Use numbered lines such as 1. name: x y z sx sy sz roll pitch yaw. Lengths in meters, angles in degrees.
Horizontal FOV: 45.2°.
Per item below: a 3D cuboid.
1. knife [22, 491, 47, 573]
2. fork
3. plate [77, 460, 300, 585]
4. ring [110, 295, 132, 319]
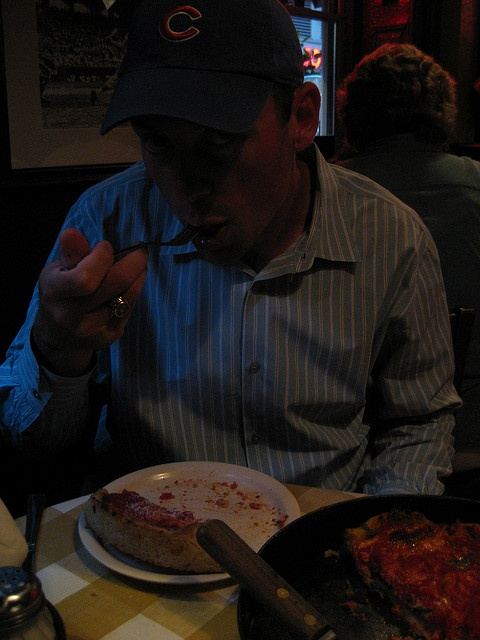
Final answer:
1. knife: -0.295 0.302 0.823 0.024 0.114 0.016 13 8 7
2. fork: -0.209 -0.145 1.174 0.333 0.041 0.047 -27 69 -31
3. plate: -0.052 0.308 0.905 0.306 0.029 0.301 3 12 -7
4. ring: -0.202 -0.021 0.969 0.027 0.036 0.013 -5 23 -5
